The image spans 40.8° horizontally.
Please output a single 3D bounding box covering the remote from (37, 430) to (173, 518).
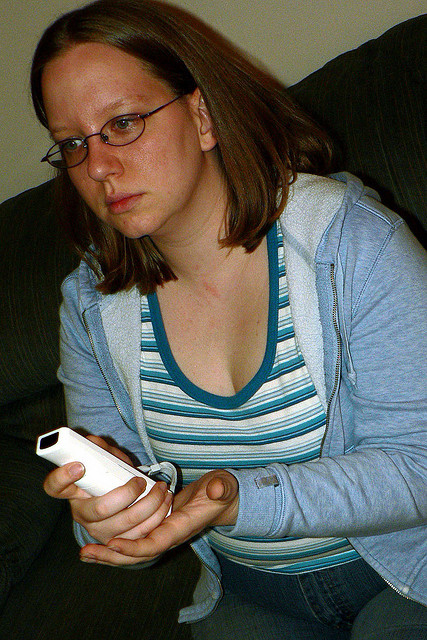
[{"bbox_3d":[-0.137,0.178,0.691,0.071,0.142,0.031,-30,36,42],"label":"remote"}]
